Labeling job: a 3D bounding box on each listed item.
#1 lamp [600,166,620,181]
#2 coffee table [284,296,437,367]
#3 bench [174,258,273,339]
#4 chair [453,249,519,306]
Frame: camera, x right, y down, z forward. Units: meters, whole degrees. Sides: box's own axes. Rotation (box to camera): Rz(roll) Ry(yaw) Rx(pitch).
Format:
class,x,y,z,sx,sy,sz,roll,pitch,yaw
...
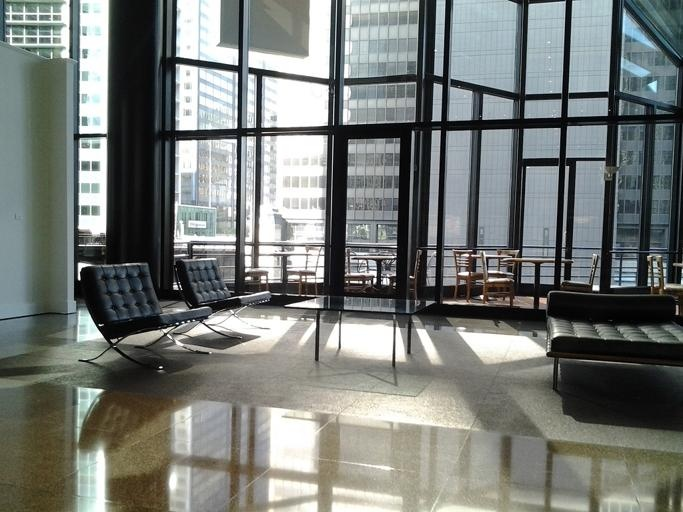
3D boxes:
class,x,y,z,sx,sy,sz,roll,pitch,yaw
lamp,4.124,-1.261,8.967,0.177,0.223,0.596,5,10,25
coffee table,0.251,0.843,6.284,1.407,0.601,1.433,1,-4,5
bench,-1.427,0.433,7.167,0.927,0.935,0.994,2,-1,9
chair,2.345,0.357,9.694,1.009,1.527,0.891,-1,2,11
